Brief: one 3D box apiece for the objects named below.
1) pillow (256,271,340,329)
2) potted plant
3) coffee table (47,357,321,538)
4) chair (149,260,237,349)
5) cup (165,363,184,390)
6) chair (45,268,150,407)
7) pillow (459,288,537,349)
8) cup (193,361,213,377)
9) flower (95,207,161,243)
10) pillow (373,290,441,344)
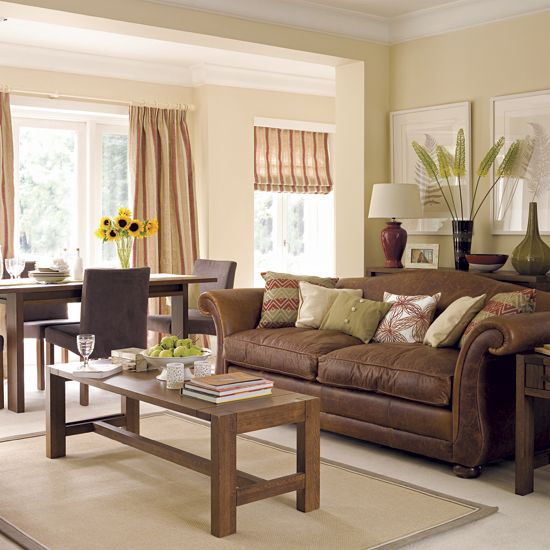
[{"bbox_3d":[0.145,0.238,3.885,0.751,0.188,0.730,4,-26,0],"label":"pillow"},{"bbox_3d":[1.519,-0.556,4.405,0.879,1.005,0.860,-1,7,6],"label":"potted plant"},{"bbox_3d":[-0.457,0.643,2.307,0.536,0.437,1.344,2,-2,-44],"label":"coffee table"},{"bbox_3d":[-0.764,0.372,4.689,0.831,0.993,0.774,-2,8,-15],"label":"chair"},{"bbox_3d":[-0.387,0.394,2.102,0.092,0.092,0.090,1,-3,0],"label":"cup"},{"bbox_3d":[-1.225,0.435,3.672,0.538,0.805,0.483,-14,-27,29],"label":"chair"},{"bbox_3d":[1.135,0.276,2.657,0.361,0.102,0.352,-21,7,32],"label":"pillow"},{"bbox_3d":[-0.283,0.371,2.167,0.068,0.061,0.064,1,-2,0],"label":"cup"},{"bbox_3d":[-1.172,-0.371,4.224,0.291,0.157,0.340,9,-2,-44],"label":"flower"},{"bbox_3d":[0.761,0.251,3.117,0.340,0.303,0.108,-1,-32,48],"label":"pillow"}]
